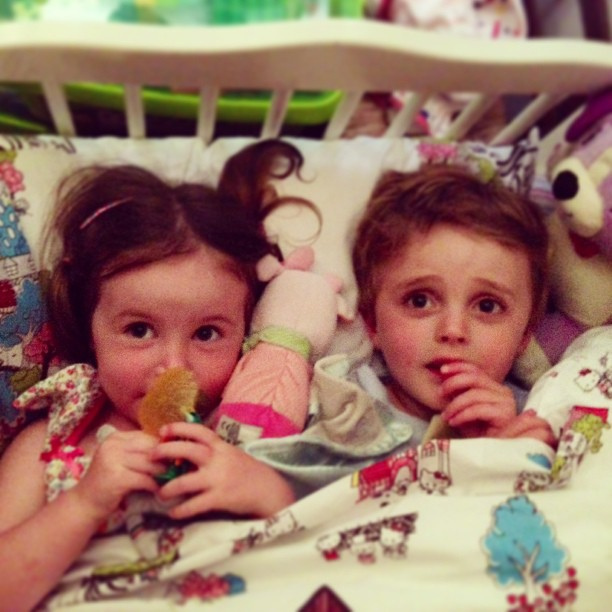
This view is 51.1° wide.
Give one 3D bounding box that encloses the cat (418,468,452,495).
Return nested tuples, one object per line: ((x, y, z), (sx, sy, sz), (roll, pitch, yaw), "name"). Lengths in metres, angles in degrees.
((0.135, 0.189, 0.681), (0.035, 0.014, 0.025), (5, 95, 10), "cat")

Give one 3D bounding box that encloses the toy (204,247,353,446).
((-0.037, 0.053, 0.749), (0.145, 0.097, 0.200), (23, 73, -9), "toy")

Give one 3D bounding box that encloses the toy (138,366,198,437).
((-0.142, 0.098, 0.657), (0.022, 0.053, 0.072), (41, 68, -18), "toy")
